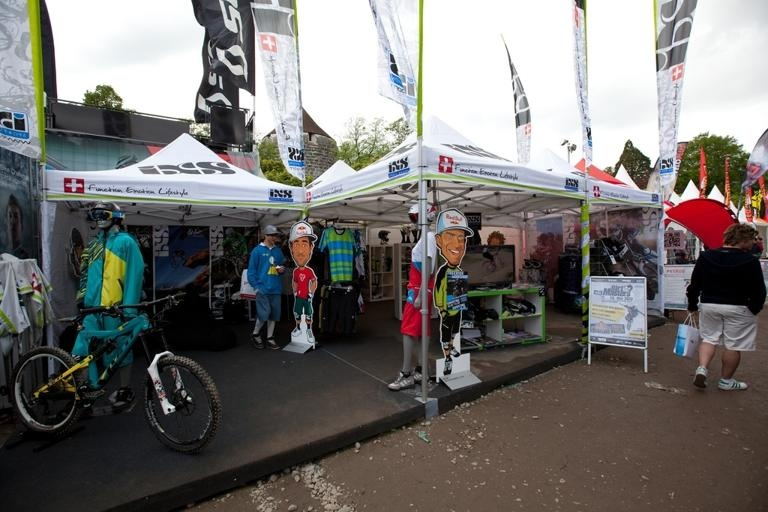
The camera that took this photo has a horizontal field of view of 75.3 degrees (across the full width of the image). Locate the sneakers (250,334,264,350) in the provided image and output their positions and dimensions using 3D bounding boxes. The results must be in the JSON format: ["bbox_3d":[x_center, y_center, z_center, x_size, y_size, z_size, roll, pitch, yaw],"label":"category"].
[{"bbox_3d":[-2.406,1.628,9.516,0.152,0.148,0.348,2,2,-39],"label":"sneakers"}]

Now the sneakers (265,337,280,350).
[{"bbox_3d":[-2.123,1.679,9.589,0.135,0.157,0.396,-1,0,-35],"label":"sneakers"}]

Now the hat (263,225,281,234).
[{"bbox_3d":[-2.130,-0.471,9.422,0.305,0.156,0.243,-1,0,27],"label":"hat"}]

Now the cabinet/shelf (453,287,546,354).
[{"bbox_3d":[2.157,1.200,9.625,1.884,0.997,0.621,-3,-1,-14],"label":"cabinet/shelf"}]

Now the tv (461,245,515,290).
[{"bbox_3d":[1.972,0.201,9.509,1.270,0.855,0.302,-2,1,-27],"label":"tv"}]

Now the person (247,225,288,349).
[{"bbox_3d":[-2.204,0.583,9.441,0.661,2.319,0.359,-2,6,-12],"label":"person"}]

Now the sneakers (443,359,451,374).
[{"bbox_3d":[0.980,1.701,7.680,0.096,0.260,0.112,6,6,6],"label":"sneakers"}]

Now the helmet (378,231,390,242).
[{"bbox_3d":[0.013,-0.609,15.051,0.345,0.335,0.252,-2,6,6],"label":"helmet"}]

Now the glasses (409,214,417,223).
[{"bbox_3d":[0.509,-0.640,8.345,0.143,0.139,0.162,2,-4,-32],"label":"glasses"}]

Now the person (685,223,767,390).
[{"bbox_3d":[5.187,0.785,7.579,0.947,2.553,0.703,2,7,30],"label":"person"}]

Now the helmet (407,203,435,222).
[{"bbox_3d":[0.674,-0.710,8.025,0.410,0.310,0.292,-10,15,-18],"label":"helmet"}]

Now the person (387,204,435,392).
[{"bbox_3d":[0.466,0.591,7.749,0.724,2.802,1.298,0,6,6],"label":"person"}]
